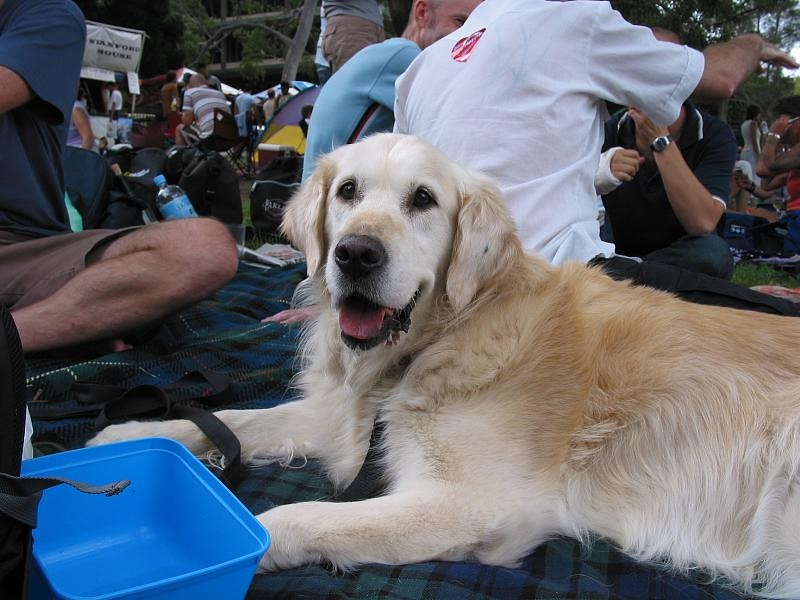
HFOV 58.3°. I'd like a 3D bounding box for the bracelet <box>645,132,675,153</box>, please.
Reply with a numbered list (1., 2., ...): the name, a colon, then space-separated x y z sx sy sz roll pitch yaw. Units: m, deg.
1. bracelet: 1.681 -1.008 4.636 0.160 0.104 0.148 -23 -3 35
